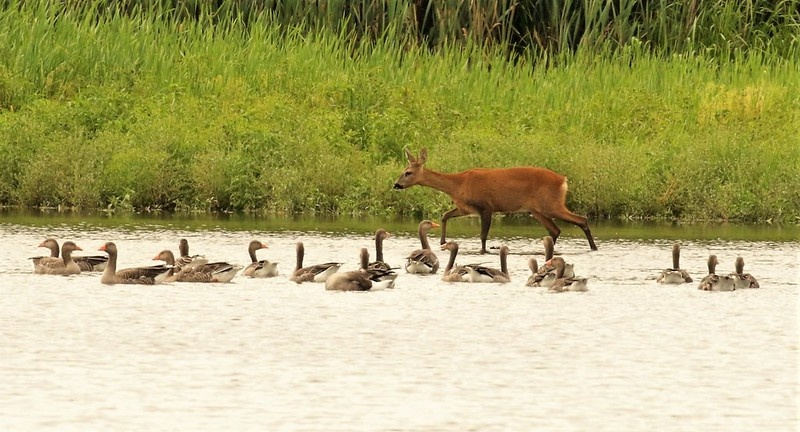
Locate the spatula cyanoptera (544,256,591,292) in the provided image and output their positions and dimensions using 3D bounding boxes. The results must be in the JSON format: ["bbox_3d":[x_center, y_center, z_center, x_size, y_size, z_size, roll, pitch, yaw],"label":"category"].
[{"bbox_3d":[3.496,1.257,24.650,0.670,0.731,0.763,3,-3,-31],"label":"spatula cyanoptera"}]

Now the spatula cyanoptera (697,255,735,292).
[{"bbox_3d":[6.648,1.300,24.881,0.557,0.611,0.898,1,6,2],"label":"spatula cyanoptera"}]

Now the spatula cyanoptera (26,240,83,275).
[{"bbox_3d":[-7.562,1.076,26.168,1.629,1.017,0.606,1,0,-7],"label":"spatula cyanoptera"}]

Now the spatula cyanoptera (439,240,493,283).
[{"bbox_3d":[1.194,1.028,25.647,0.652,0.889,1.538,0,1,-1],"label":"spatula cyanoptera"}]
